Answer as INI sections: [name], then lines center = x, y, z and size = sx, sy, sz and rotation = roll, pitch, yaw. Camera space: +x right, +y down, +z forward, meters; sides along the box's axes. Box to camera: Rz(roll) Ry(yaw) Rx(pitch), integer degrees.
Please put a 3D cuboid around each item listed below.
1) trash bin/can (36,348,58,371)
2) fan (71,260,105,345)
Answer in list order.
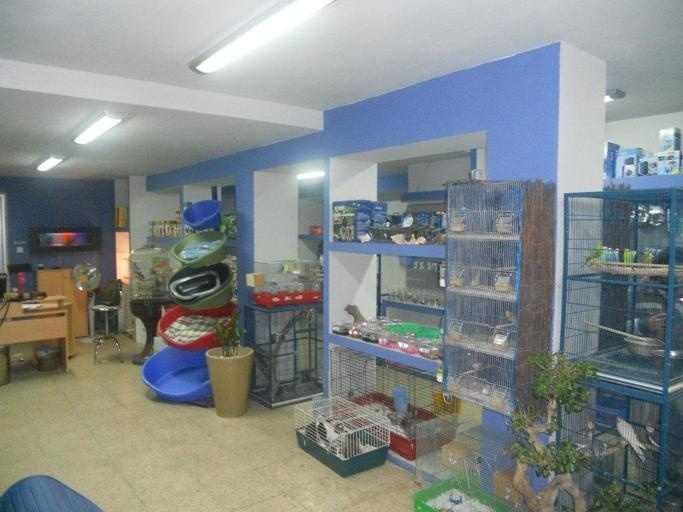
[trash bin/can]
center = -4.689, 1.636, 8.172
size = 0.337, 0.323, 0.317
rotation = 1, 0, -43
[fan]
center = -4.583, 0.778, 9.358
size = 0.523, 1.328, 0.522
rotation = -6, -5, -32
